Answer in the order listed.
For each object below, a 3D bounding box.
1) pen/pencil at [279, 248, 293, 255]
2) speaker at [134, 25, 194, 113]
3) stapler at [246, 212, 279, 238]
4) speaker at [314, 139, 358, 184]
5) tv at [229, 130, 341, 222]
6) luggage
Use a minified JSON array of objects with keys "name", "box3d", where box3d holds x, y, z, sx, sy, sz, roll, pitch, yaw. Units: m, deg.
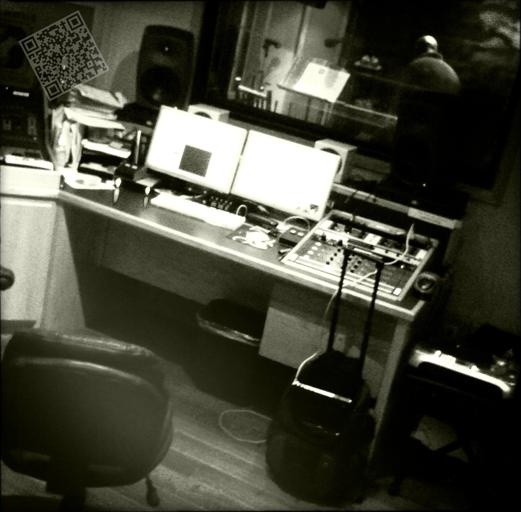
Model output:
[{"name":"pen/pencil","box3d":[0.098,-0.022,2.103,0.037,0.015,0.023,-9,33,-31]},{"name":"speaker","box3d":[-0.485,-0.959,2.709,0.266,0.426,0.235,12,41,-11]},{"name":"stapler","box3d":[0.014,-0.136,2.281,0.136,0.043,0.087,23,-14,36]},{"name":"speaker","box3d":[0.397,-0.432,2.521,0.189,0.159,0.202,8,19,-2]},{"name":"tv","box3d":[0.104,-0.336,2.294,0.471,0.371,0.113,19,15,8]},{"name":"luggage","box3d":[0.282,0.419,1.944,0.378,0.910,0.284,16,14,18]}]
